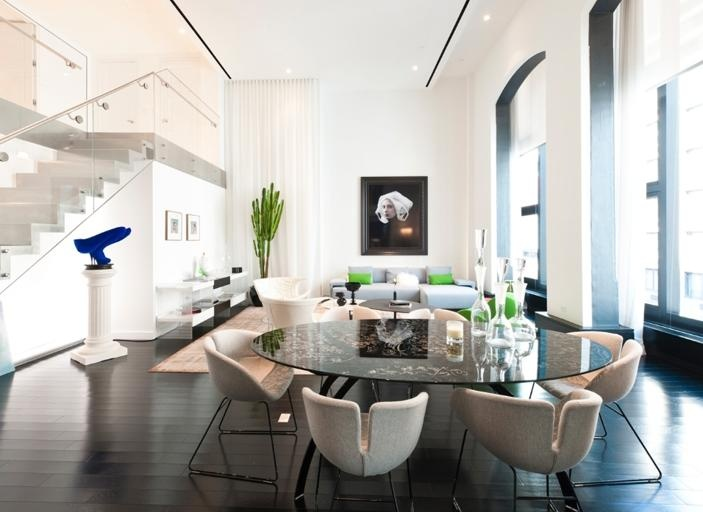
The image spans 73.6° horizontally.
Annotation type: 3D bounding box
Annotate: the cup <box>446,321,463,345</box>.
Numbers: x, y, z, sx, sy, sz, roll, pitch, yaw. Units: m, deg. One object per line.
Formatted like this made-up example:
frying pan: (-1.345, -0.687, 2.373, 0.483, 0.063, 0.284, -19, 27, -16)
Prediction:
cup: (0.812, 0.603, 3.710, 0.116, 0.190, 0.153, 2, 4, 9)

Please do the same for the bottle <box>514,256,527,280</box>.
bottle: (1.356, 0.108, 3.821, 0.085, 0.193, 0.249, 3, 4, 18)

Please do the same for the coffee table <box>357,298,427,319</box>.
coffee table: (0.559, 0.716, 6.147, 0.753, 0.295, 0.827, 0, 5, -17)

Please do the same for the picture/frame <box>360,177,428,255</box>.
picture/frame: (0.906, -0.882, 9.848, 1.526, 1.841, 0.139, 0, 1, -2)

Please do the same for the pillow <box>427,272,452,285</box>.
pillow: (1.758, 0.461, 9.287, 0.268, 0.083, 0.272, -2, 30, 2)

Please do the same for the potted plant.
potted plant: (-1.693, -0.525, 9.532, 0.636, 1.914, 0.599, 5, 5, 42)
